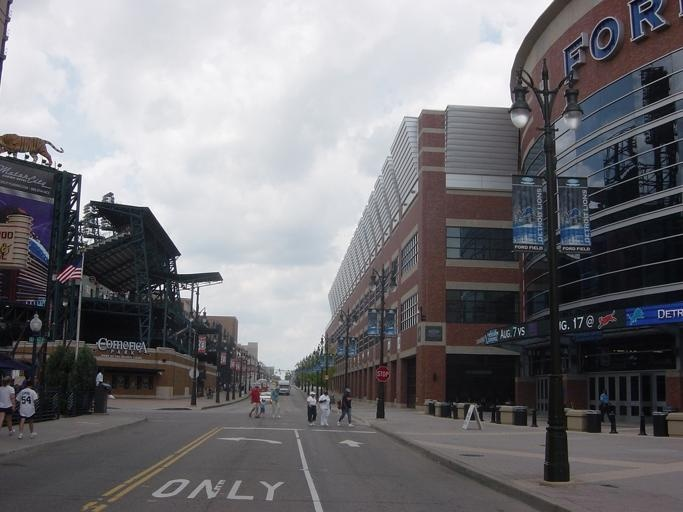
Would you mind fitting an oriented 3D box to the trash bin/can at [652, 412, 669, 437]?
[{"bbox_3d":[14.699,7.813,28.976,0.665,1.081,0.608,-8,-18,28],"label":"trash bin/can"}]
